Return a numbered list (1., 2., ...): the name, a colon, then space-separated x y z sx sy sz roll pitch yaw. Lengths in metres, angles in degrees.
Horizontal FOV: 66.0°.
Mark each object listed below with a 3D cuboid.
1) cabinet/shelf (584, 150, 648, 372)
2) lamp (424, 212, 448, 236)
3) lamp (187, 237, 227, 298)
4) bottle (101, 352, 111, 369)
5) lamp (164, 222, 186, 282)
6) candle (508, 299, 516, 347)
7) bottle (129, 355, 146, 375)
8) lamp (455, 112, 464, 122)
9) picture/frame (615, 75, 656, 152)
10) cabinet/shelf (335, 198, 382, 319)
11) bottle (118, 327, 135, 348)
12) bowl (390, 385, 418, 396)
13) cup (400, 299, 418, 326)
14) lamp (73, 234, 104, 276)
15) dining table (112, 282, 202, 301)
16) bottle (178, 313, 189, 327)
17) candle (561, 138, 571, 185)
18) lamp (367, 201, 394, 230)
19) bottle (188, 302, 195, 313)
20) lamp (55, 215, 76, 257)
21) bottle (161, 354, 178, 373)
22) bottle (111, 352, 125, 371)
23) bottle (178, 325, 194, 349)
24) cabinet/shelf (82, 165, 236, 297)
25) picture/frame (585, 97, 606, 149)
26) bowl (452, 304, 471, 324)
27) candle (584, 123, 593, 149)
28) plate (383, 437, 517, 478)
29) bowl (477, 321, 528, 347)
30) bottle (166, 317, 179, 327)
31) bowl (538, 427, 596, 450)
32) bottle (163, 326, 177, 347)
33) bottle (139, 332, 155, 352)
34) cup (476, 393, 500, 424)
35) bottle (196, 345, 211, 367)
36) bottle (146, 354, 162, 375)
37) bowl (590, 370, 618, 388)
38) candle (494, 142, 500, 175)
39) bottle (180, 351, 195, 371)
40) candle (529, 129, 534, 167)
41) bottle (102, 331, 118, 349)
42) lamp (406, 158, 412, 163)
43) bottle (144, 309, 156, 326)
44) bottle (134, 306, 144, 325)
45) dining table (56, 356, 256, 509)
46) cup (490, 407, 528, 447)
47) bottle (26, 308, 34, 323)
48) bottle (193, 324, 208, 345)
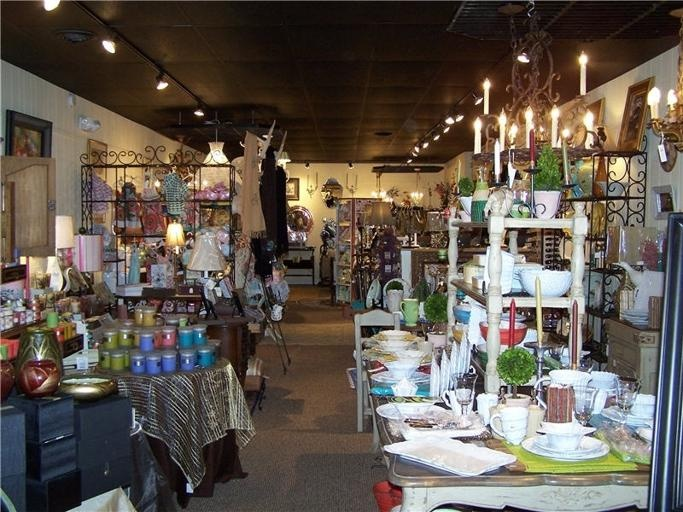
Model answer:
1. cabinet/shelf: 2.838 0.027 5.493 0.577 2.226 1.433 2 5 25
2. lamp: 1.416 -0.497 7.783 0.260 0.272 0.474 2 4 16
3. lamp: -1.312 0.057 5.024 0.308 0.485 0.296 -2 12 -44
4. bottle: -1.530 0.683 3.418 0.096 0.102 0.095 2 -3 -15
5. lamp: -2.390 -0.072 7.563 0.263 0.872 0.654 -1 4 -16
6. candle: 0.813 0.318 2.506 0.030 0.233 0.280 2 4 18
7. bottle: -1.300 0.696 3.353 0.110 0.125 0.110 -2 4 -44
8. lamp: 1.788 -2.120 7.990 0.042 0.115 0.170 36 0 11
9. picture/frame: 3.020 -1.423 5.400 0.274 0.731 0.476 2 5 26
10. cabinet/shelf: 0.353 -0.088 12.235 1.656 2.305 1.483 1 6 1
11. bottle: -1.475 0.564 3.601 0.116 0.126 0.113 0 6 6
12. bowl: 0.317 0.673 2.632 0.080 0.038 0.079 -2 1 0
13. cup: 0.544 0.447 4.171 0.138 0.214 0.226 1 4 9
14. lamp: -3.112 -0.020 6.179 0.515 0.416 0.513 0 -1 -37
15. dining table: -2.287 0.474 6.565 1.199 0.204 0.388 3 5 31
16. bottle: -1.172 0.482 3.878 0.076 0.072 0.076 1 5 7
17. candle: 1.125 -0.466 2.635 0.050 0.241 0.227 2 4 23
18. lamp: 0.634 -0.706 9.132 0.462 0.544 0.462 -3 7 -14
19. bottle: -1.919 0.670 6.706 0.115 0.111 0.064 2 6 23
20. lamp: -2.995 -0.218 5.698 0.146 0.419 0.326 -1 4 -21
21. bottle: -1.115 0.692 3.411 0.111 0.126 0.111 0 3 5
22. bottle: -1.443 0.687 3.390 0.104 0.111 0.104 2 2 5
23. bottle: -1.077 0.580 3.699 0.128 0.136 0.129 1 2 32
24. cabinet/shelf: -2.487 -0.301 7.139 1.895 1.630 0.571 0 -3 -4
25. picture/frame: 2.133 -1.108 4.510 0.474 0.470 0.043 -11 8 -38
26. bowl: 0.730 0.366 3.230 0.099 0.085 0.114 -1 3 -8
27. candle: 1.342 -0.640 2.853 0.045 0.130 0.112 2 4 23
28. plate: 0.423 0.755 1.983 0.171 0.026 0.241 0 -1 -32
29. bowl: 0.828 0.395 2.676 0.157 0.076 0.158 -1 1 0
30. bottle: -1.230 0.482 3.819 0.069 0.064 0.068 5 15 -6
31. bowl: 0.850 0.689 1.997 0.107 0.038 0.107 0 -1 0
32. bottle: -1.178 0.564 3.639 0.113 0.112 0.109 0 6 -13
33. bottle: -1.291 0.575 3.482 0.115 0.119 0.114 1 -2 -19
34. cup: 0.632 0.668 2.271 0.068 0.117 0.107 -2 8 -15
35. bottle: -0.927 0.694 3.635 0.120 0.134 0.120 0 -2 -7
36. bottle: -1.200 0.698 3.351 0.113 0.125 0.113 0 1 8
37. bowl: 1.200 0.573 2.449 0.141 0.042 0.141 -3 1 0
38. candle: 0.769 -0.485 2.599 0.028 0.191 0.179 2 4 16
39. bottle: -1.019 0.700 3.461 0.121 0.137 0.121 0 -3 2
40. candle: 0.937 -0.525 2.589 0.021 0.176 0.153 2 4 19
41. bottle: -1.551 0.571 3.543 0.092 0.123 0.104 -1 4 -24
42. lamp: 1.767 -2.491 13.745 0.119 0.128 0.136 -9 -6 36
43. bottle: -1.408 0.454 3.852 0.085 0.109 0.171 -1 4 -21
44. bottle: -1.496 0.448 3.890 0.056 0.128 0.152 -1 4 -22
45. dining table: -1.265 1.098 3.630 0.928 0.623 0.871 0 4 21
46. cup: 0.686 0.684 2.114 0.161 0.154 0.114 -2 5 -9
47. bottle: -2.107 0.413 3.552 0.048 0.089 0.093 -1 4 -17
48. bottle: -0.997 0.559 3.698 0.118 0.125 0.118 0 -2 -3
